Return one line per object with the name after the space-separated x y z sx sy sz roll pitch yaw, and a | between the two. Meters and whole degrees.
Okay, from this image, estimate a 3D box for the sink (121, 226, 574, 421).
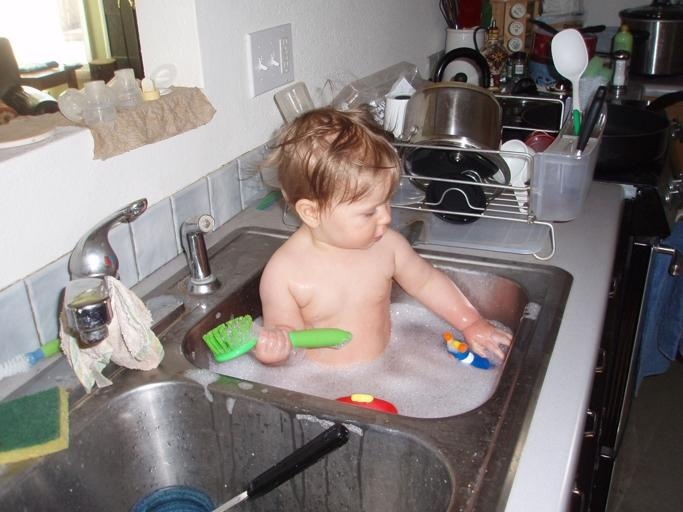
0.004 0.123 0.891 0.348 0.139 0.250 12 32 23 | sink

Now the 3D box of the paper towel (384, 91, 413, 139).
0.138 -0.365 1.298 0.103 0.131 0.111 -1 25 1 | paper towel

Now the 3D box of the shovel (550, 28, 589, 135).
0.527 -0.407 1.200 0.061 0.252 0.132 15 28 30 | shovel

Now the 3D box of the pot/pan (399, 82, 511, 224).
0.245 -0.224 1.203 0.239 0.315 0.265 12 28 13 | pot/pan

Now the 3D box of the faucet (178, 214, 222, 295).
-0.260 -0.006 0.902 0.086 0.142 0.119 -6 27 -19 | faucet

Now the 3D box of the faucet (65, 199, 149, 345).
-0.359 0.020 0.752 0.144 0.161 0.126 -20 33 -39 | faucet

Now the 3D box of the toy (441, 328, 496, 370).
0.237 0.184 0.956 0.134 0.042 0.046 37 45 -11 | toy

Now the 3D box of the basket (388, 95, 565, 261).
0.283 -0.192 1.099 0.270 0.433 0.272 9 29 23 | basket

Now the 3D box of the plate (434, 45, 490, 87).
0.409 -0.616 1.663 0.165 0.152 0.467 5 27 15 | plate
